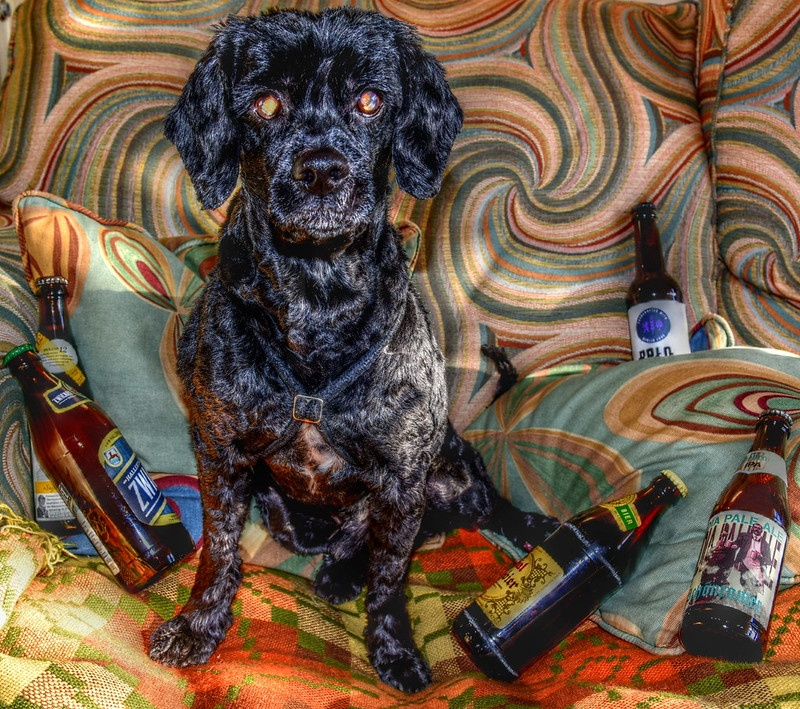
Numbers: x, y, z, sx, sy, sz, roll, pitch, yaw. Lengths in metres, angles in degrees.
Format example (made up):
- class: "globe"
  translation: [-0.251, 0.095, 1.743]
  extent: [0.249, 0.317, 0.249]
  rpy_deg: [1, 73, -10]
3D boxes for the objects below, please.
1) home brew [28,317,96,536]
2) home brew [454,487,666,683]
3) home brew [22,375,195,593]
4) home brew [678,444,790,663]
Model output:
- class: "home brew"
  translation: [-0.895, 0.201, 1.988]
  extent: [0.201, 0.523, 0.211]
  rpy_deg: [-15, 27, -33]
- class: "home brew"
  translation: [0.401, 0.527, 1.784]
  extent: [0.397, 0.510, 0.160]
  rpy_deg: [16, 0, -28]
- class: "home brew"
  translation: [-0.675, 0.314, 1.910]
  extent: [0.297, 0.570, 0.312]
  rpy_deg: [17, 29, 37]
- class: "home brew"
  translation: [0.738, 0.451, 1.611]
  extent: [0.174, 0.591, 0.181]
  rpy_deg: [34, -37, -3]
